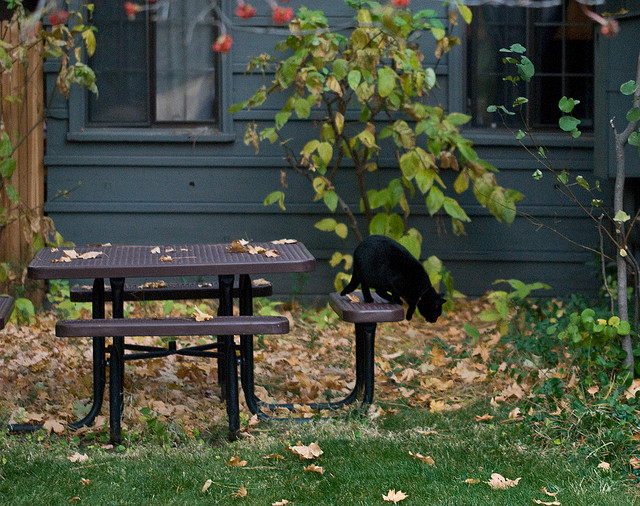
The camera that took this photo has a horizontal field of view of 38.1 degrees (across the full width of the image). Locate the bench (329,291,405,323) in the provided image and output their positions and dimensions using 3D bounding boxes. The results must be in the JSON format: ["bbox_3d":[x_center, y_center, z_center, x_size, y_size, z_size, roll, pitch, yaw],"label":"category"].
[{"bbox_3d":[0.332,0.399,6.675,0.439,0.171,0.645,-3,7,-13],"label":"bench"}]

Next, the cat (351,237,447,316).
[{"bbox_3d":[0.558,0.158,6.708,0.493,0.639,0.561,2,10,-25],"label":"cat"}]

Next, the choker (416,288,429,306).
[{"bbox_3d":[0.742,0.311,6.608,0.010,0.147,0.026,22,19,-26],"label":"choker"}]

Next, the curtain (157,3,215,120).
[{"bbox_3d":[-1.299,-1.867,9.023,0.574,1.119,0.136,-2,6,-12],"label":"curtain"}]

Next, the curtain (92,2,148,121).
[{"bbox_3d":[-1.934,-1.839,8.948,0.540,1.119,0.132,-2,6,-13],"label":"curtain"}]

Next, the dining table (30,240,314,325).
[{"bbox_3d":[-1.084,0.233,6.758,1.935,0.546,1.060,-1,11,-12],"label":"dining table"}]

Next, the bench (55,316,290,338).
[{"bbox_3d":[-0.976,0.511,6.176,1.536,0.142,0.311,-1,7,0],"label":"bench"}]
